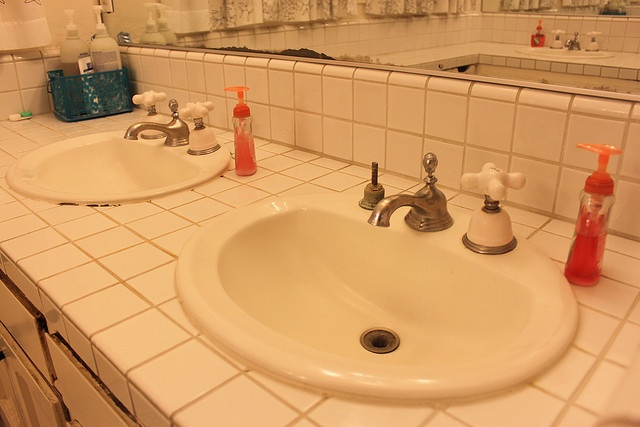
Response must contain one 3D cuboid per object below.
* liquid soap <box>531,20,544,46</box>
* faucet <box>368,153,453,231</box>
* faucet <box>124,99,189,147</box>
[{"bbox_3d":[0.518,-0.423,1.055,0.032,0.060,0.013,13,33,25],"label":"liquid soap"},{"bbox_3d":[0.245,-0.056,1.168,0.180,0.131,0.092,-21,34,-26],"label":"faucet"},{"bbox_3d":[-0.542,-0.346,1.624,0.279,0.184,0.117,-14,34,-34],"label":"faucet"}]
